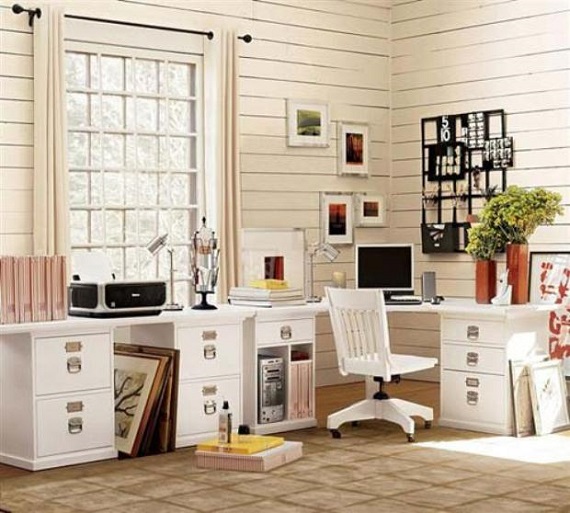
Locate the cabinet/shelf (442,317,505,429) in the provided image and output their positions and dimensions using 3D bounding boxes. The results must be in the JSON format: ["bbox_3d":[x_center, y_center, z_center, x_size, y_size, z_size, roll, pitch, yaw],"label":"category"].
[{"bbox_3d":[1.244,0.732,3.846,0.436,0.742,0.427,1,0,33],"label":"cabinet/shelf"}]

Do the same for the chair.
[{"bbox_3d":[0.577,0.622,3.618,0.557,0.892,0.647,0,0,29],"label":"chair"}]

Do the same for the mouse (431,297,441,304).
[{"bbox_3d":[1.047,0.306,4.117,0.064,0.052,0.051,-1,-1,37],"label":"mouse"}]

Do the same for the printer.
[{"bbox_3d":[-0.958,0.153,3.327,0.519,0.389,0.563,0,-3,-8],"label":"printer"}]

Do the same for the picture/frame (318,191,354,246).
[{"bbox_3d":[0.436,-0.352,5.321,0.476,0.700,0.066,0,-1,-35],"label":"picture/frame"}]

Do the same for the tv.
[{"bbox_3d":[0.717,0.100,4.260,0.340,0.393,0.130,0,-4,0],"label":"tv"}]

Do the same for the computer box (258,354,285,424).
[{"bbox_3d":[-0.031,0.851,3.670,0.246,0.369,0.175,-16,-24,42],"label":"computer box"}]

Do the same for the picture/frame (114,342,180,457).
[{"bbox_3d":[-0.757,0.818,3.256,0.180,0.550,0.504,8,-9,-42],"label":"picture/frame"}]

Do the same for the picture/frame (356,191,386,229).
[{"bbox_3d":[0.785,-0.448,5.526,0.331,0.341,0.025,0,-2,-36],"label":"picture/frame"}]

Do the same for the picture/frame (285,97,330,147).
[{"bbox_3d":[0.170,-1.193,5.166,0.428,0.440,0.049,0,0,-36],"label":"picture/frame"}]

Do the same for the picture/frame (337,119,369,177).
[{"bbox_3d":[0.606,-1.017,5.430,0.497,0.674,0.067,0,0,-40],"label":"picture/frame"}]
